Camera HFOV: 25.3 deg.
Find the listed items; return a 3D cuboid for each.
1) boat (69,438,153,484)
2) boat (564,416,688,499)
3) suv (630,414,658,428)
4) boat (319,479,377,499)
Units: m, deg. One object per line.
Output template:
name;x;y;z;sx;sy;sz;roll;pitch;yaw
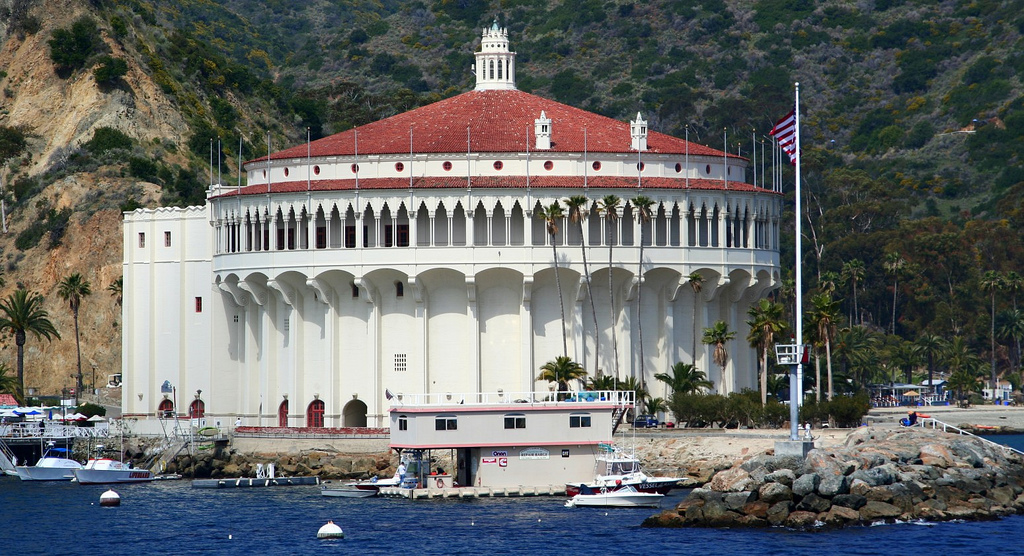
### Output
boat;-54.191;25.886;308.092;9.625;3.623;2.039;2;-10;-5
boat;16.877;25.029;296.543;15.031;7.373;6.298;1;-5;5
suv;18.368;19.301;310.439;2.893;1.334;1.763;3;-1;9
boat;-21.313;27.585;299.745;7.419;1.965;2.638;0;-2;9
